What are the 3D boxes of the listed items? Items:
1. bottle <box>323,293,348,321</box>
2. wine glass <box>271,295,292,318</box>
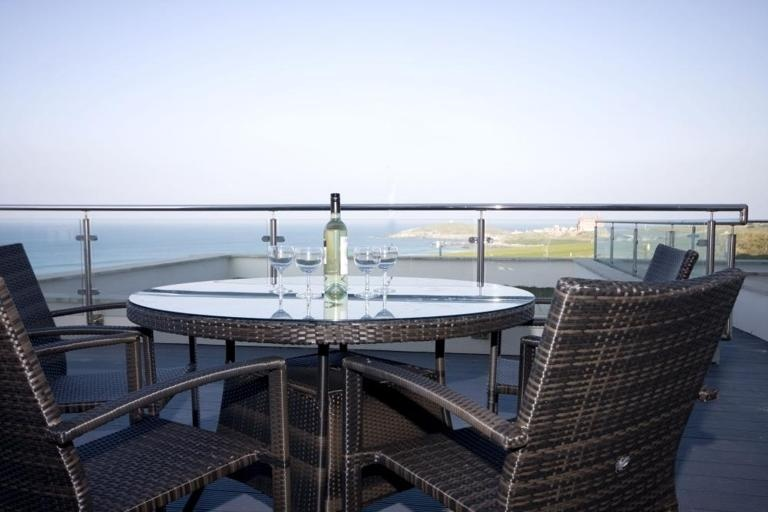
[{"bbox_3d":[-0.157,0.167,1.843,0.069,0.067,0.066,-1,4,-32],"label":"bottle"},{"bbox_3d":[-0.315,0.167,1.780,0.051,0.047,0.051,-2,-3,38],"label":"wine glass"}]
